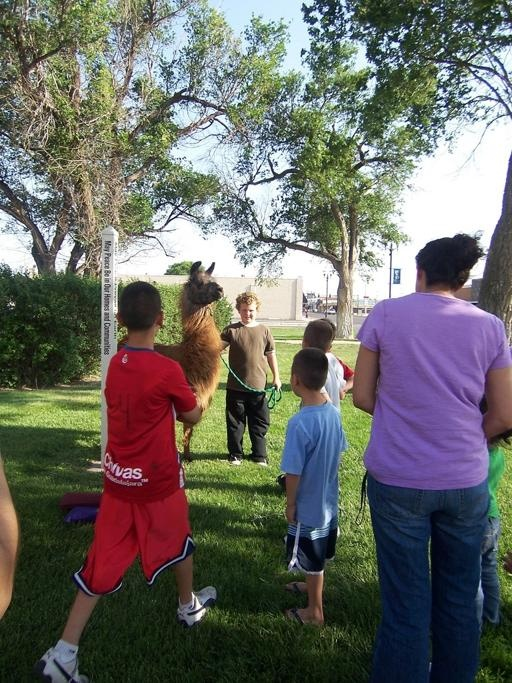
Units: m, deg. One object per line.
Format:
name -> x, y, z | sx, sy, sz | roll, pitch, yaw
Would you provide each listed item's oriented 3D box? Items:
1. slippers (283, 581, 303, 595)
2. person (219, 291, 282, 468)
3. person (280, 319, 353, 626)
slippers -> 0.229, 1.450, 3.297 | 0.100, 0.024, 0.039 | -3, -1, 43
person -> -0.109, 0.409, 6.316 | 0.761, 1.787, 0.851 | 6, 11, -5
person -> 0.340, 0.721, 3.135 | 0.484, 1.398, 0.637 | 0, 0, -39
